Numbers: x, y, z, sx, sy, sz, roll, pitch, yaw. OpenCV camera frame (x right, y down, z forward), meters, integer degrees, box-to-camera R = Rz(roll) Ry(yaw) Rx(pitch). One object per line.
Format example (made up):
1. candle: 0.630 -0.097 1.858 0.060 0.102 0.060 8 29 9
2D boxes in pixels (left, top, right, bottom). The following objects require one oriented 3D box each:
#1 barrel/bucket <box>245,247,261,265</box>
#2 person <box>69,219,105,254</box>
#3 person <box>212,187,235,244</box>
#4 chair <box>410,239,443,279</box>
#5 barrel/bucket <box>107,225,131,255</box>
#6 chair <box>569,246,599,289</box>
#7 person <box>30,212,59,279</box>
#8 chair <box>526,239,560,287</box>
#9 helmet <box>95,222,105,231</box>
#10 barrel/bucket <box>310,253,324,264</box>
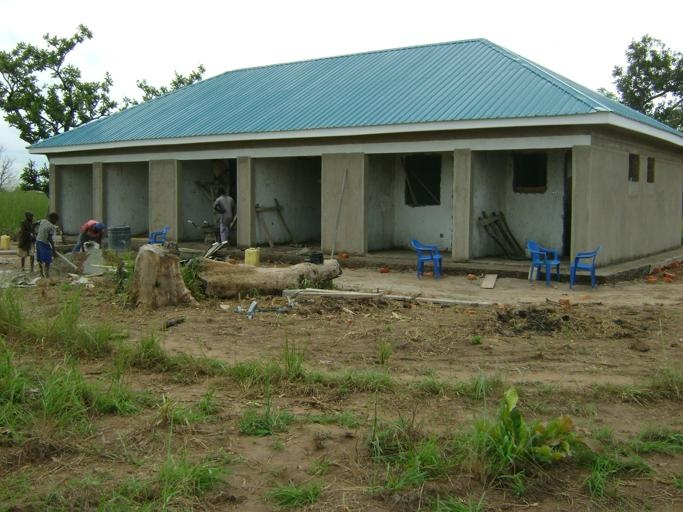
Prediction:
1. barrel/bucket: -2.115 0.044 15.318 0.305 0.367 0.486 -2 11 -13
2. person: -6.276 -0.499 15.988 0.654 0.753 2.180 -4 11 -22
3. person: -3.346 -1.013 18.537 0.532 1.375 1.266 -2 10 -10
4. chair: 1.976 0.022 14.580 0.769 1.005 0.819 1 7 18
5. barrel/bucket: -6.226 -0.459 18.235 0.809 0.915 0.825 0 2 0
6. chair: 4.769 0.224 12.775 0.608 0.773 0.649 -2 7 3
7. person: -6.831 -0.230 15.045 0.485 1.417 2.188 -5 11 -25
8. chair: 4.151 0.128 13.316 0.662 0.816 0.587 -6 6 -36
9. helmet: -5.910 -0.707 15.863 0.150 0.251 0.680 -3 11 -14
10. barrel/bucket: -0.507 0.046 12.721 0.218 0.199 0.217 -1 4 0
